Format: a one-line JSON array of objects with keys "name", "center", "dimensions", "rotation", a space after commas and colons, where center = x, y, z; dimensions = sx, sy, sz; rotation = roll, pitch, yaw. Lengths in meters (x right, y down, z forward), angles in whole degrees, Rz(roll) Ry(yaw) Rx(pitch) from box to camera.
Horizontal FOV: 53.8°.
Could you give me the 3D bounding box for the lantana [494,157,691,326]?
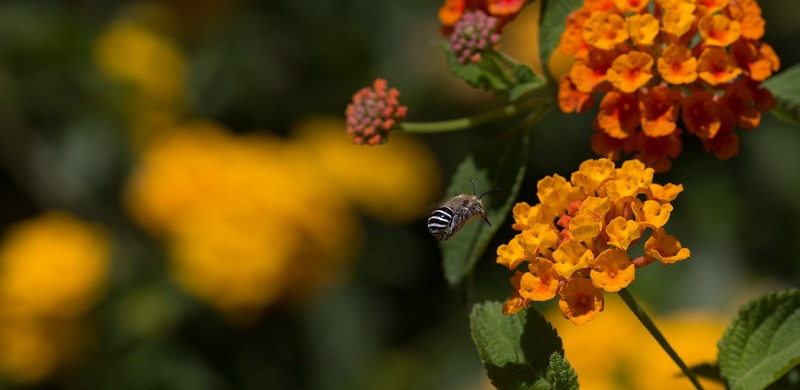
[{"name": "lantana", "center": [0.745, 0.173, 3.192], "dimensions": [0.683, 0.697, 0.274], "rotation": [35, -10, 38]}]
